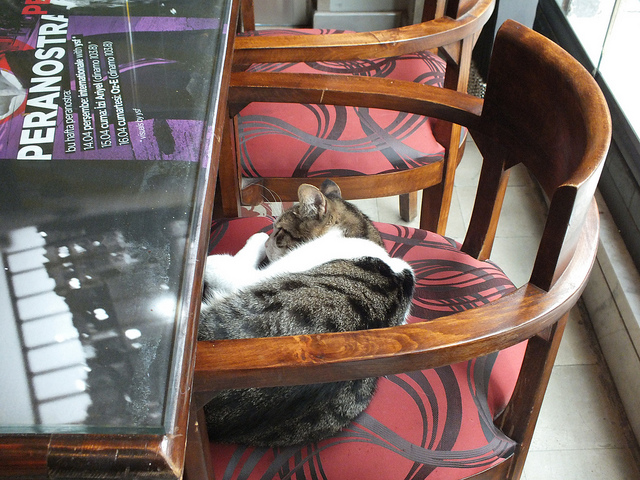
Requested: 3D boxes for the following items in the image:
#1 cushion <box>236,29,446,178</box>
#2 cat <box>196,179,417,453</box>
[{"bbox_3d":[0.048,-0.273,1.415,0.514,0.118,0.483,-4,55,-2],"label":"cushion"},{"bbox_3d":[-0.031,0.135,1.099,0.363,0.212,0.486,8,61,-6],"label":"cat"}]
